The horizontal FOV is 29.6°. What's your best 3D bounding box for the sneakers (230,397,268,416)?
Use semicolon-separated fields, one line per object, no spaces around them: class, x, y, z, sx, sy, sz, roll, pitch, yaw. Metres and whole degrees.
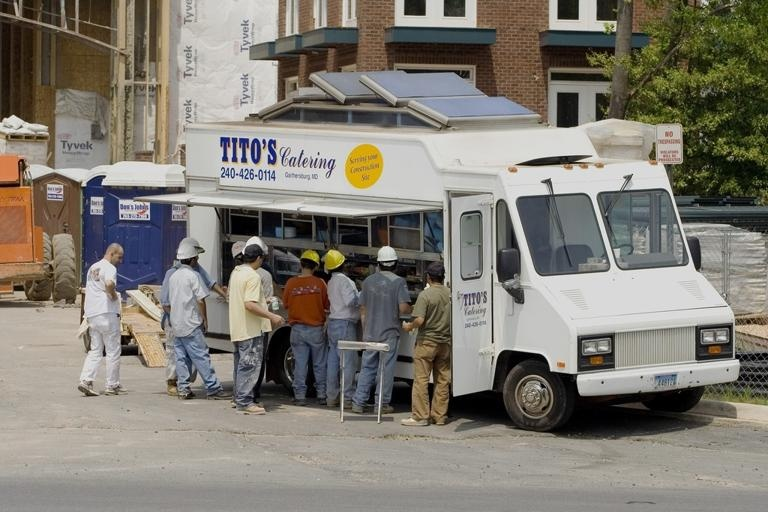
sneakers;-2.219;2.461;23.515;0.620;0.273;0.234;0;2;-2

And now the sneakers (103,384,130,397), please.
sneakers;-4.557;2.277;24.566;0.403;0.183;0.173;-6;9;-44

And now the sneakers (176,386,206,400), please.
sneakers;-3.296;2.327;24.480;0.143;0.173;0.391;3;3;34

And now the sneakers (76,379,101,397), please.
sneakers;-4.936;2.233;24.348;0.172;0.210;0.439;1;0;17

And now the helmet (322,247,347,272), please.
helmet;-0.854;0.097;23.727;0.306;0.190;0.345;-41;22;-8

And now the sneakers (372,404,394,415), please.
sneakers;-0.001;2.494;23.550;0.394;0.163;0.131;-4;7;-24

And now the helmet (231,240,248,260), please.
helmet;-2.443;-0.086;24.134;0.124;0.327;0.244;22;-26;-5

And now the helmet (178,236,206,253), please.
helmet;-3.213;-0.142;24.271;0.381;0.202;0.275;-3;6;-13

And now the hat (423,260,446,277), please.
hat;0.793;0.209;22.905;0.278;0.288;0.260;11;-7;-12

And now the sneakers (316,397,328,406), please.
sneakers;-1.058;2.431;24.214;0.148;0.133;0.105;2;3;17

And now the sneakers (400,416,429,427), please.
sneakers;0.458;2.629;22.976;0.431;0.168;0.166;3;2;17

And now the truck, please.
truck;0.650;-0.429;24.291;8.944;4.577;5.510;2;4;44

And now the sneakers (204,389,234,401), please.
sneakers;-2.799;2.349;24.417;0.481;0.194;0.186;-1;5;-13
